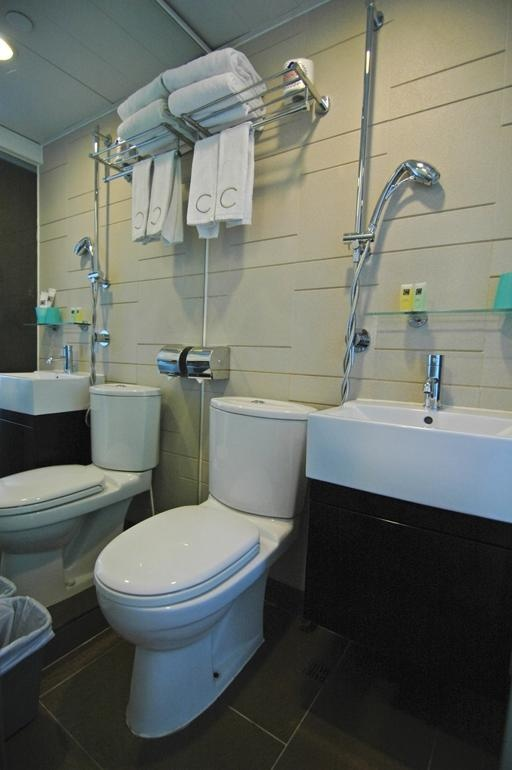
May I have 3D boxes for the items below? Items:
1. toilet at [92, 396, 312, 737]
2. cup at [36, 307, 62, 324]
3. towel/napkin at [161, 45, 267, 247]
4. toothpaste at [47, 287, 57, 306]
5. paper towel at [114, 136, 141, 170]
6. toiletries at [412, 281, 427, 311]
[{"bbox_3d":[-0.153,0.462,1.530,0.352,0.773,0.669,11,14,32],"label":"toilet"},{"bbox_3d":[-0.671,-0.225,1.776,0.038,0.043,0.058,-3,-3,25],"label":"cup"},{"bbox_3d":[-0.122,-0.807,1.897,0.404,0.559,0.245,4,5,28],"label":"towel/napkin"},{"bbox_3d":[-0.669,-0.289,1.793,0.013,0.045,0.028,5,7,8],"label":"toothpaste"},{"bbox_3d":[-0.519,-0.910,2.194,0.088,0.154,0.112,18,11,-24],"label":"paper towel"},{"bbox_3d":[0.470,-0.256,1.581,0.032,0.079,0.046,3,5,21],"label":"toiletries"}]
